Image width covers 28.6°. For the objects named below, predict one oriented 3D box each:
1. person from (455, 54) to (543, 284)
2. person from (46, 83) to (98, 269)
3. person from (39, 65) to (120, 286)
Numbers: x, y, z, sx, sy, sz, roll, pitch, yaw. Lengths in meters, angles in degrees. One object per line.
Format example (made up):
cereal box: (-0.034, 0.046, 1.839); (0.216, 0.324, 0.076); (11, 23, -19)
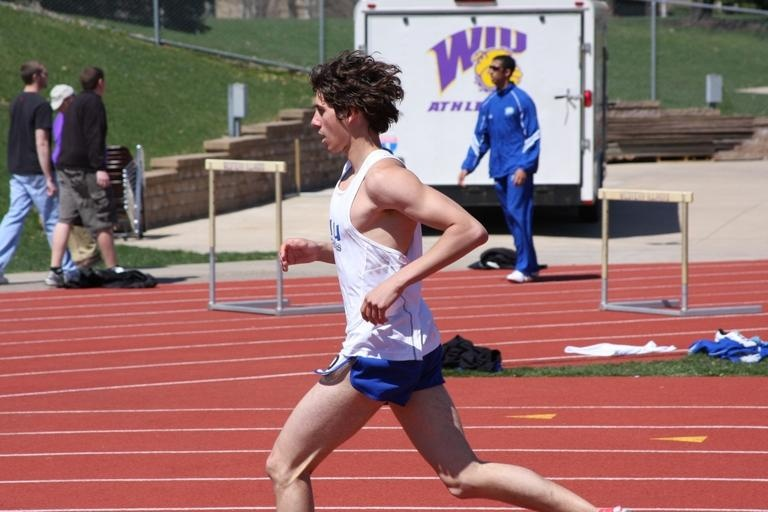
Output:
person: (1.835, -1.162, 20.757); (1.159, 2.852, 1.319); (1, 3, 19)
person: (-4.406, -1.171, 21.833); (0.745, 2.745, 1.074); (-12, 16, -8)
person: (-4.046, -1.030, 20.470); (0.913, 2.972, 0.430); (1, 7, 12)
